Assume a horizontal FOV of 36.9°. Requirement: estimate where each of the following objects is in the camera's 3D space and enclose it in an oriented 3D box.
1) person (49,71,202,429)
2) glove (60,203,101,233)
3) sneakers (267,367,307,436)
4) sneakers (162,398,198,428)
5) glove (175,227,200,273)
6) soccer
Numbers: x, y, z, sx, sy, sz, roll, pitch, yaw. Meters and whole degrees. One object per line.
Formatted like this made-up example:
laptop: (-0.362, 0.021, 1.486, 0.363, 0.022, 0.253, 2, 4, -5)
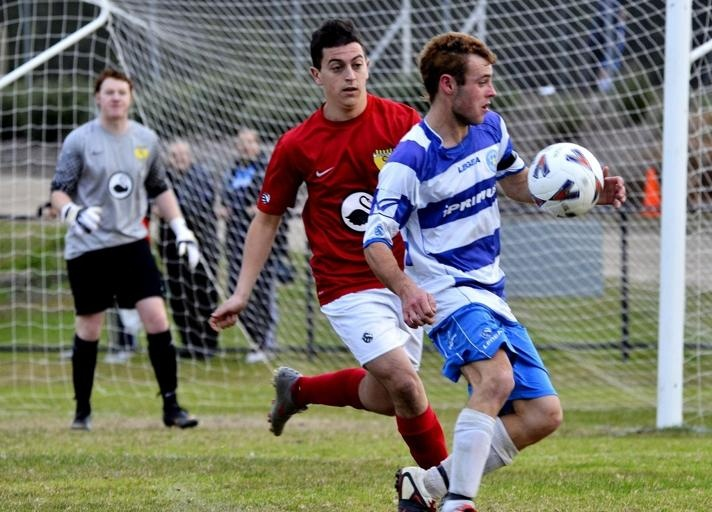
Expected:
person: (-1.770, -0.035, 8.148, 1.110, 2.728, 1.055, -1, 2, -23)
glove: (-2.003, -0.283, 7.849, 0.260, 0.200, 0.123, 27, 4, 21)
sneakers: (-0.538, 1.044, 7.754, 0.270, 0.569, 0.190, 28, 36, 31)
sneakers: (-1.343, 1.217, 8.069, 0.229, 0.242, 0.287, -3, 7, -16)
glove: (-1.299, -0.074, 8.179, 0.149, 0.145, 0.431, 26, 27, -20)
soccer: (1.335, -0.480, 6.805, 0.486, 0.501, 0.511, 3, 36, 20)
